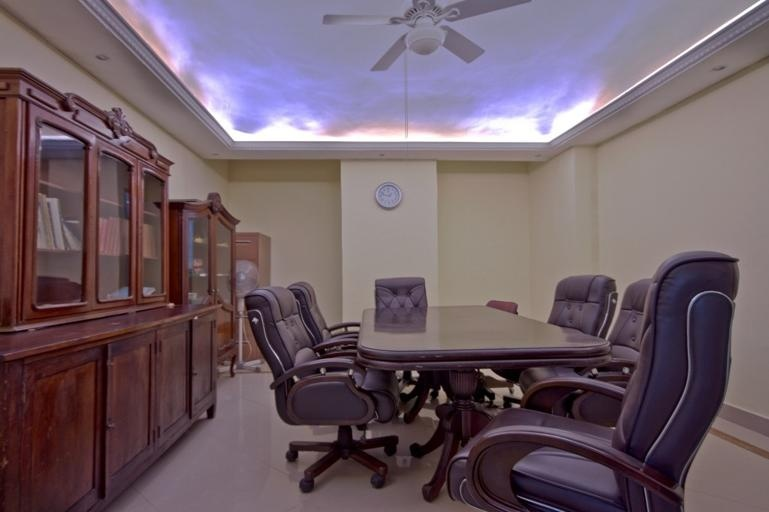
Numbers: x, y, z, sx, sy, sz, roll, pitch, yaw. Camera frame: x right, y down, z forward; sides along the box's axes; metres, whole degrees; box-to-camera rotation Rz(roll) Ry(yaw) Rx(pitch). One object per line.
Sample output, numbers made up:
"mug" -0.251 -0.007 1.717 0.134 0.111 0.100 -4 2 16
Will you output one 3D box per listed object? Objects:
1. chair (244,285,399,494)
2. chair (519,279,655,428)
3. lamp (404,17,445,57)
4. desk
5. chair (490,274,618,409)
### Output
"chair" -0.426 0.943 4.123 1.337 1.718 1.260 -1 -4 0
"chair" 1.106 0.568 3.449 0.786 0.929 0.622 5 -1 -24
"lamp" 0.311 -1.705 3.883 0.303 0.296 0.297 -5 -11 -4
"desk" 0.573 1.212 3.470 1.104 0.935 1.950 1 -5 -1
"chair" 1.428 0.676 4.110 0.768 1.045 0.827 6 -2 -31
